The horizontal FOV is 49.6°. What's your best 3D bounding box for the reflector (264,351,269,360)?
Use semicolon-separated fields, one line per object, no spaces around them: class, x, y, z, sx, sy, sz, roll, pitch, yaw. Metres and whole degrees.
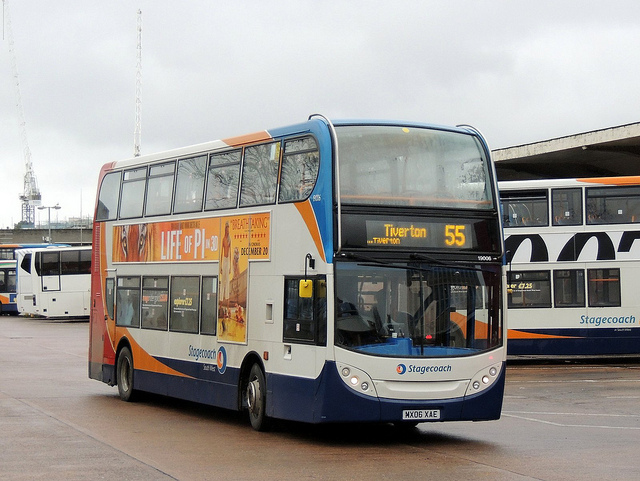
reflector;-0.889;1.894;11.459;0.018;0.157;0.136;-1;5;-26

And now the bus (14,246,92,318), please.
bus;-21.410;3.449;54.000;12.430;5.883;4.439;1;-1;42

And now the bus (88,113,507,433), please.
bus;-1.655;0.718;14.923;3.176;5.123;10.411;4;-5;-39
